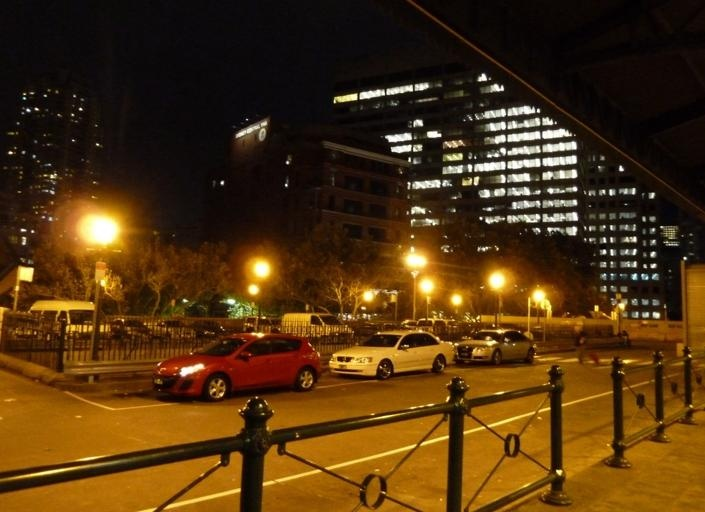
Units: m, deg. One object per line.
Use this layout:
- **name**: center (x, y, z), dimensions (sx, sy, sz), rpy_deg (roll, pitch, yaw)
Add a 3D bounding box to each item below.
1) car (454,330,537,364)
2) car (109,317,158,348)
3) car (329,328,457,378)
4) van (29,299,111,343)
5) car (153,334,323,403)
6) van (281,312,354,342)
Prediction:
- **car**: center (6.411, 4.059, 27.689), dimensions (3.852, 1.567, 1.519), rpy_deg (6, -10, -37)
- **car**: center (-8.053, 2.762, 22.375), dimensions (1.457, 0.780, 2.132), rpy_deg (5, -10, -20)
- **car**: center (1.508, 3.535, 22.024), dimensions (4.190, 1.293, 1.740), rpy_deg (8, -13, -41)
- **van**: center (-14.561, 3.042, 30.977), dimensions (3.867, 1.926, 1.280), rpy_deg (0, 14, 5)
- **car**: center (-3.081, 3.077, 17.063), dimensions (3.879, 1.308, 1.903), rpy_deg (9, -12, -39)
- **van**: center (-2.059, 3.354, 31.733), dimensions (2.965, 1.612, 1.991), rpy_deg (-8, -11, 33)
